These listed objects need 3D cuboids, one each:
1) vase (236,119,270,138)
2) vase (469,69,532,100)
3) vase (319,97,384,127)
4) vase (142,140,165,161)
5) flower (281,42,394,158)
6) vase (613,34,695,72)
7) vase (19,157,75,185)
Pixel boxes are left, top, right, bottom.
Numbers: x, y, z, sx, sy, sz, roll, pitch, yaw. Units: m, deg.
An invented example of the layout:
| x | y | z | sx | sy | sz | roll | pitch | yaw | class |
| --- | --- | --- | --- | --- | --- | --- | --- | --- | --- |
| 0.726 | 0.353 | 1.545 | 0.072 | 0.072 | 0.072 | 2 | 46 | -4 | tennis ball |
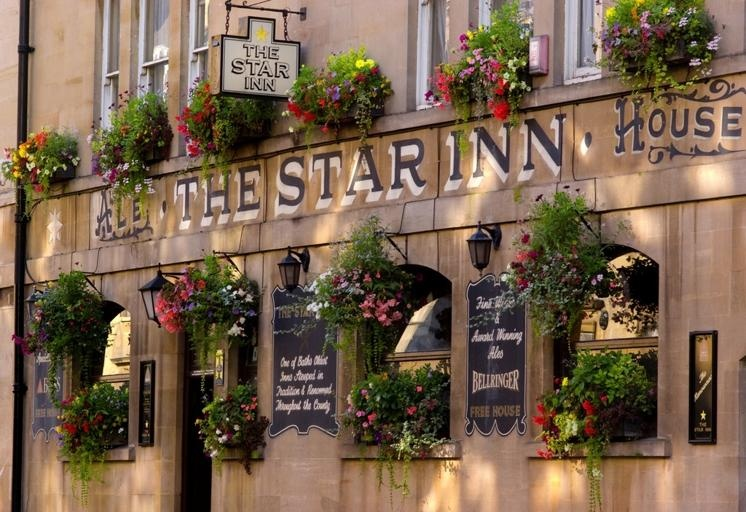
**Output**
| x | y | z | sx | sy | sz | roll | pitch | yaw | class |
| --- | --- | --- | --- | --- | --- | --- | --- | --- | --- |
| -1.767 | -1.926 | 33.450 | 0.406 | 0.233 | 0.450 | 2 | -9 | -33 | vase |
| 1.714 | -2.493 | 31.243 | 0.893 | 0.534 | 0.859 | 3 | 5 | 11 | vase |
| -0.168 | -2.091 | 32.267 | 1.140 | 0.389 | 0.337 | -4 | -4 | 42 | vase |
| -3.442 | -1.648 | 34.773 | 0.259 | 0.367 | 0.354 | 8 | -11 | -39 | vase |
| -0.496 | -2.387 | 32.446 | 1.695 | 1.408 | 0.585 | -8 | -9 | 31 | flower |
| 3.667 | -2.863 | 29.918 | 1.549 | 0.599 | 0.447 | -6 | 12 | -31 | vase |
| -5.254 | -1.405 | 36.097 | 1.094 | 0.339 | 0.361 | -6 | -4 | 38 | vase |
